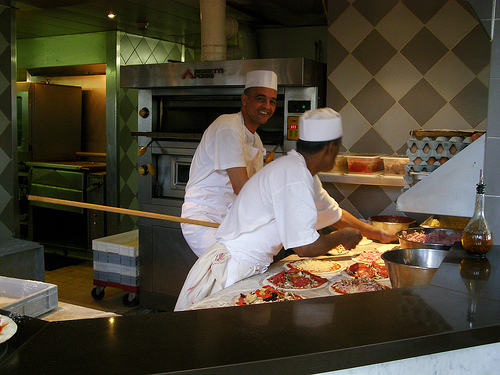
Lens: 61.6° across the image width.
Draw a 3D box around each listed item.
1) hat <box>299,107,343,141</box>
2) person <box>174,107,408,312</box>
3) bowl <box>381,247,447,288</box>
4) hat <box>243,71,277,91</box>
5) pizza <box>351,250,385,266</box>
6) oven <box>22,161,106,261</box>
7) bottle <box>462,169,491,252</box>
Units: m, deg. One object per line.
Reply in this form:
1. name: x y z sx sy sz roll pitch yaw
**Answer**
1. hat: 0.346 -0.328 2.120 0.217 0.135 0.205 -1 28 7
2. person: 0.110 0.117 2.146 0.965 1.027 0.338 1 13 1
3. bowl: 0.747 0.364 1.883 0.261 0.122 0.263 -7 7 1
4. hat: 0.065 -0.763 3.027 0.166 0.089 0.169 5 5 33
5. pizza: 0.688 0.404 2.414 0.121 0.017 0.129 -6 4 -19
6. oven: -2.424 0.298 5.977 1.299 1.178 1.001 4 3 21
7. bottle: 0.962 0.140 1.756 0.107 0.318 0.061 3 13 7
